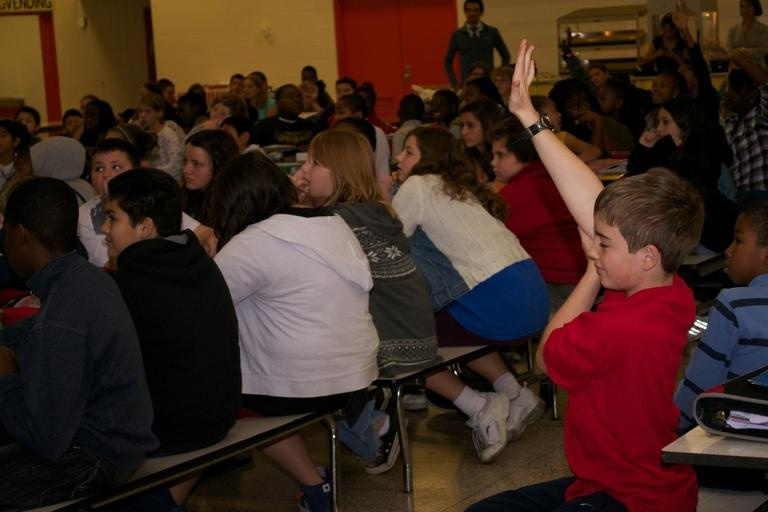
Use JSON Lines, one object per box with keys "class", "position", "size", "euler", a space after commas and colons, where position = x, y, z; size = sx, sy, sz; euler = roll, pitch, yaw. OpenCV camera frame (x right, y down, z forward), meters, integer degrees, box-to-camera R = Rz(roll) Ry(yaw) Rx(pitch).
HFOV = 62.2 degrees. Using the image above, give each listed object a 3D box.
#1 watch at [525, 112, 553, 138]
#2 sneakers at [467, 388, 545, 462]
{"class": "watch", "position": [0.461, -0.390, 1.908], "size": [0.087, 0.052, 0.089], "euler": [-25, 20, 25]}
{"class": "sneakers", "position": [0.690, 0.856, 3.568], "size": [0.199, 0.277, 0.605], "euler": [-49, -7, 34]}
